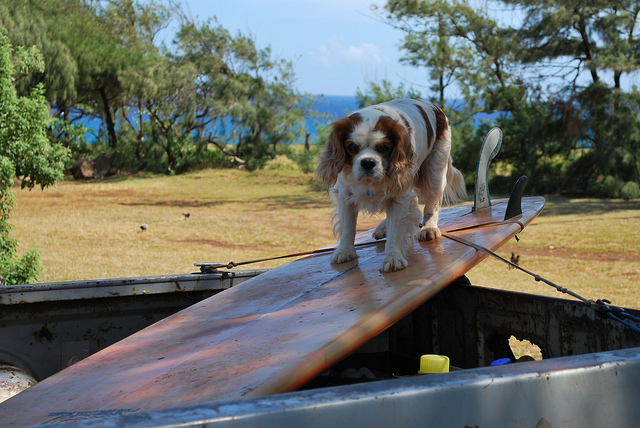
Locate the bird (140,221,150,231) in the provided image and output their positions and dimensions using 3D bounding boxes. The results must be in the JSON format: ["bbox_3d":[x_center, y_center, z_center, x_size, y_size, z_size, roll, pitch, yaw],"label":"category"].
[{"bbox_3d":[-5.919,0.398,35.926,0.280,0.401,0.574,-3,-1,-7],"label":"bird"}]
